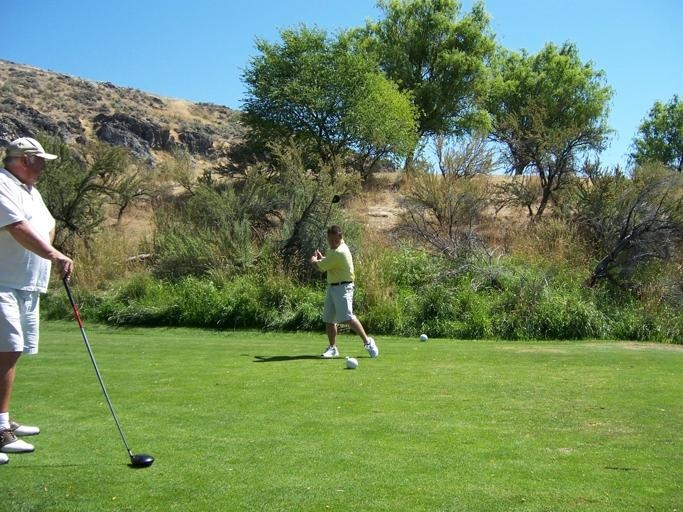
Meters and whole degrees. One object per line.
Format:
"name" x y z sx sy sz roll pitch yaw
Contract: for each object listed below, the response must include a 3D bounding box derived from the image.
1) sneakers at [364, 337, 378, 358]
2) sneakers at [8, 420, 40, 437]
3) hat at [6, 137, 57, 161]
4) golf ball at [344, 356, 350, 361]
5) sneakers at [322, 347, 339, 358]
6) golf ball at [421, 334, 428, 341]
"sneakers" 0.466 1.467 12.704 0.175 0.379 0.141 6 -41 -34
"sneakers" -3.621 1.962 8.848 0.372 0.147 0.137 0 26 3
"hat" -3.694 -1.273 9.226 0.520 0.262 0.314 -4 9 -29
"golf ball" 0.095 1.610 12.181 0.076 0.060 0.089 0 -8 2
"sneakers" -0.176 1.573 12.549 0.296 0.138 0.121 -1 -1 17
"golf ball" 1.657 1.633 15.453 0.126 0.093 0.124 1 -7 0
